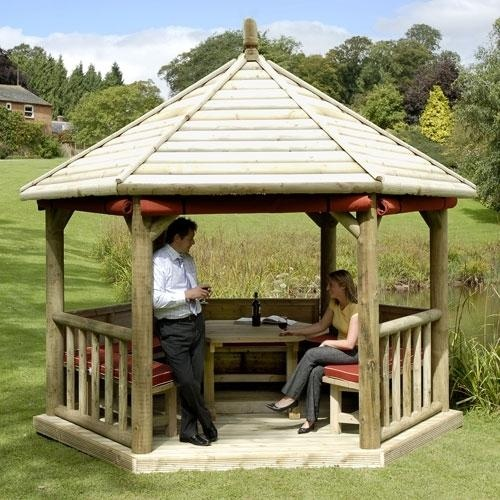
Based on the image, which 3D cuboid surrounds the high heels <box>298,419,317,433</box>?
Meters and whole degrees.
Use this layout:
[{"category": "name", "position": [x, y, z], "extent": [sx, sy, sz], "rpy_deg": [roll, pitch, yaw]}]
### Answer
[{"category": "high heels", "position": [0.621, 1.881, 9.749], "extent": [0.081, 0.105, 0.239], "rpy_deg": [-10, -12, 36]}]

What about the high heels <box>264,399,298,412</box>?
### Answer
[{"category": "high heels", "position": [0.336, 1.668, 9.810], "extent": [0.372, 0.170, 0.147], "rpy_deg": [-2, 1, -4]}]

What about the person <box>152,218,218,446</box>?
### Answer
[{"category": "person", "position": [-0.673, 0.869, 9.499], "extent": [0.657, 2.392, 0.802], "rpy_deg": [-2, 10, -6]}]

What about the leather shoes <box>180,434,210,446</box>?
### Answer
[{"category": "leather shoes", "position": [-0.551, 1.926, 9.376], "extent": [0.313, 0.147, 0.123], "rpy_deg": [-2, 2, 13]}]

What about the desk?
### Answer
[{"category": "desk", "position": [0.175, 1.378, 10.595], "extent": [0.999, 0.974, 1.768], "rpy_deg": [0, -1, -3]}]
